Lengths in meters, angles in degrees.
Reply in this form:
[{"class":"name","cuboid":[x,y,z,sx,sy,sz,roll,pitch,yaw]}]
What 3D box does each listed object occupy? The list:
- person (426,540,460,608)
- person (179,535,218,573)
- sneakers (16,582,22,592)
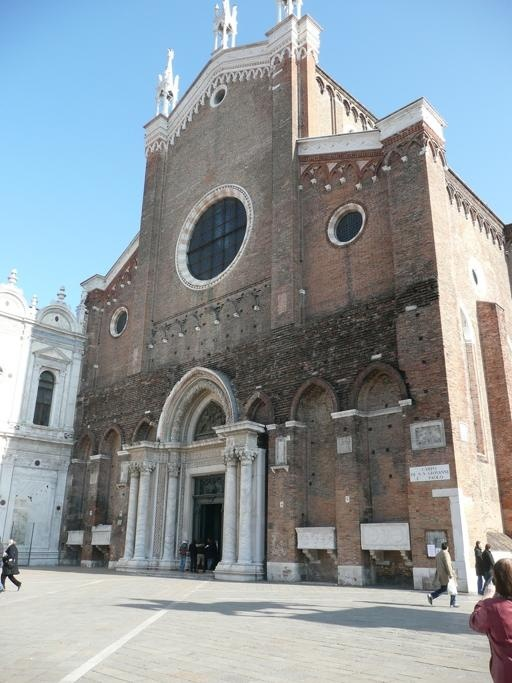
[{"class":"person","cuboid":[3.559,4.503,10.028,0.520,1.066,1.090,-7,-18,17]},{"class":"person","cuboid":[-2.273,8.515,20.651,1.787,1.172,1.246,-18,-23,42]},{"class":"sneakers","cuboid":[-5.957,6.133,12.977,0.093,0.217,0.642,6,-18,-23]}]
